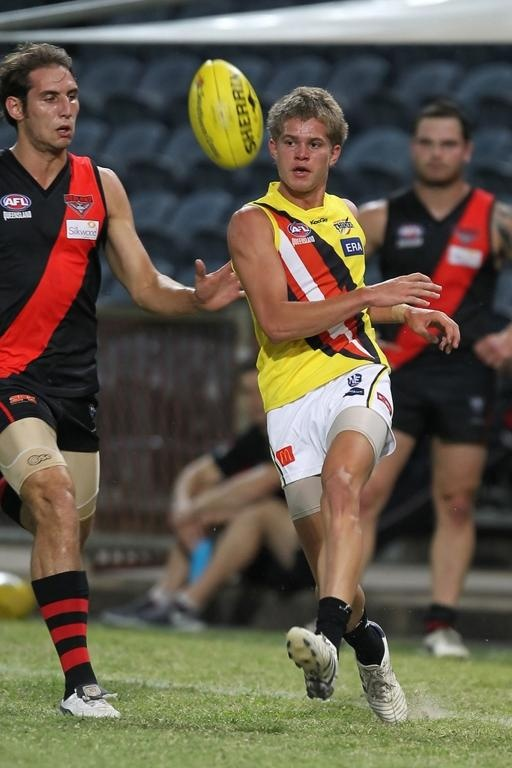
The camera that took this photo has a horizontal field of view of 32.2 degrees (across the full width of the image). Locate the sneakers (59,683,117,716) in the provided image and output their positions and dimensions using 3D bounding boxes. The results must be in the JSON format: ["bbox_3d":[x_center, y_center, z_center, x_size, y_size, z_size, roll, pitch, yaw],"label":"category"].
[{"bbox_3d":[-0.416,0.775,2.180,0.129,0.054,0.085,0,-3,43],"label":"sneakers"}]

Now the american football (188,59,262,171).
[{"bbox_3d":[-0.081,-0.910,3.002,0.292,0.371,0.246,-10,12,9],"label":"american football"}]

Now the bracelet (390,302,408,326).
[{"bbox_3d":[0.420,-0.207,2.593,0.058,0.043,0.053,-7,-19,23],"label":"bracelet"}]

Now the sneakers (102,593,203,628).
[{"bbox_3d":[-0.598,1.390,5.420,0.660,0.225,0.217,4,-16,4],"label":"sneakers"}]
